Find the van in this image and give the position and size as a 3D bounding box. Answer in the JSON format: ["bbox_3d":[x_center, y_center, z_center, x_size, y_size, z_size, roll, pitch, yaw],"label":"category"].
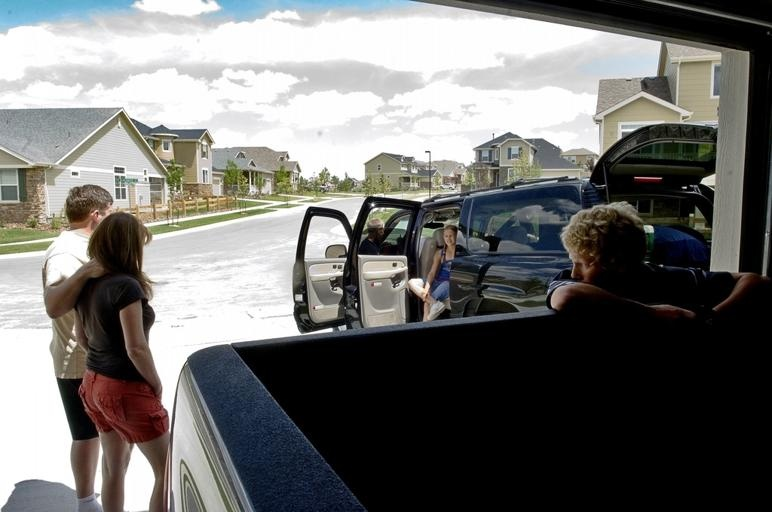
[{"bbox_3d":[0.997,-0.242,6.926,2.655,1.768,3.696,-4,8,-42],"label":"van"}]

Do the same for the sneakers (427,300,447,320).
[{"bbox_3d":[0.628,0.740,7.686,0.141,0.179,0.386,-54,1,-36],"label":"sneakers"}]
